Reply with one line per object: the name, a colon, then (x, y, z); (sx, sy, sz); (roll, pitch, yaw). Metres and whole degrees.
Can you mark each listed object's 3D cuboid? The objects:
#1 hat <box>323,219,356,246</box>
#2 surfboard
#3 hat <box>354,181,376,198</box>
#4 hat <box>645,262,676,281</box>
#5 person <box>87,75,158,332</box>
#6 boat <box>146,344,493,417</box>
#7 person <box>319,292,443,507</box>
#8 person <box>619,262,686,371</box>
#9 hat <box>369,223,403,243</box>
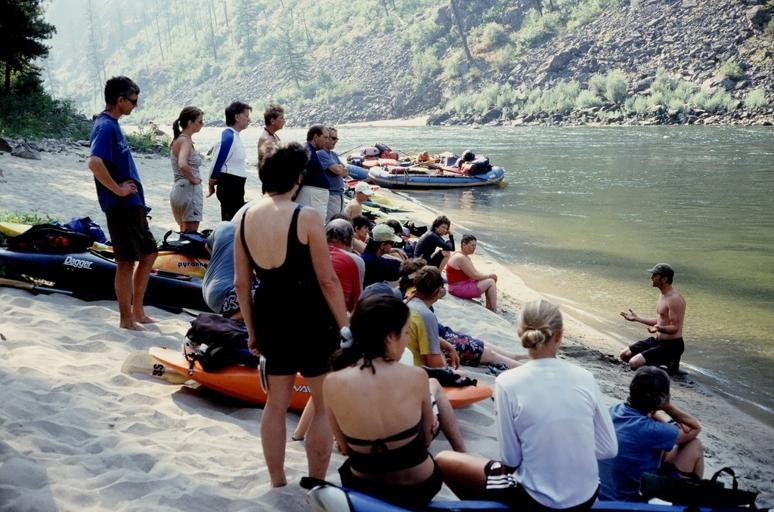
hat: (-0.536, -0.264, 6.847); (0.285, 0.305, 0.329); (-3, 14, -5)
surfboard: (-0.767, 1.487, 6.752); (4.256, 0.474, 1.238); (4, -6, 8)
hat: (-0.447, -1.220, 11.363); (0.388, 0.170, 0.268); (6, 13, 30)
hat: (4.459, 0.269, 9.966); (0.375, 0.185, 0.260); (20, 20, 19)
person: (-3.060, -0.598, 7.077); (0.692, 2.974, 0.681); (0, 8, -14)
boat: (-0.884, 1.305, 6.532); (4.032, 0.460, 1.150); (3, 2, -6)
person: (-0.019, 1.120, 4.712); (0.937, 1.626, 0.281); (3, 8, 4)
person: (3.809, 0.872, 8.714); (0.870, 1.506, 1.306); (5, 8, 24)
hat: (0.003, -0.309, 8.561); (0.377, 0.153, 0.237); (3, 19, -19)
